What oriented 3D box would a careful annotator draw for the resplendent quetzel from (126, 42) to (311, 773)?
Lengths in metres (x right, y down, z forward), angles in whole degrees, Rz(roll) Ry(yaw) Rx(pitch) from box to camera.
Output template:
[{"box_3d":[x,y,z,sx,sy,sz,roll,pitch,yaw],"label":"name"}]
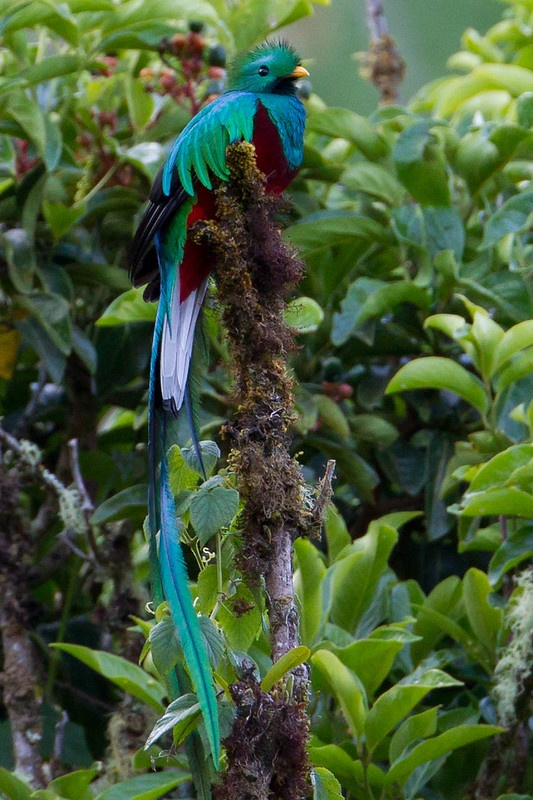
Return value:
[{"box_3d":[-0.104,-0.102,2.429,0.409,1.070,1.203,-2,18,2],"label":"resplendent quetzel"}]
